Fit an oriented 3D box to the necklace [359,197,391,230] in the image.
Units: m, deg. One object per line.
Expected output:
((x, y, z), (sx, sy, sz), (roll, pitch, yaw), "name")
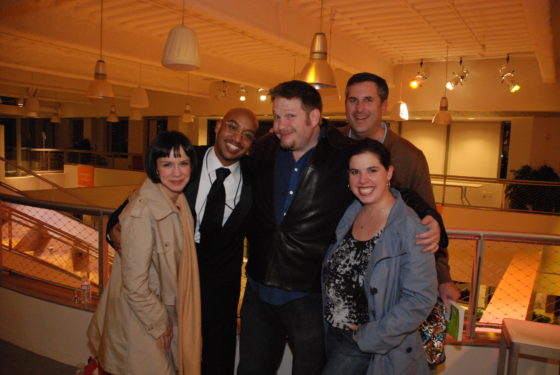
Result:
((0.777, 0.208, 3.426), (0.181, 0.257, 0.128), (11, -8, 30), "necklace")

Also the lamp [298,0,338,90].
((0.531, -1.747, 5.783), (0.434, 0.642, 0.664), (4, 3, 22), "lamp")

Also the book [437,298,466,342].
((1.459, 1.106, 3.536), (0.153, 0.285, 0.172), (1, 3, -38), "book")

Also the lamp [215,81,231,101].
((-2.023, -3.460, 14.934), (0.471, 0.687, 1.190), (3, 3, -10), "lamp")

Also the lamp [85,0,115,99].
((-3.354, -2.469, 7.967), (0.387, 1.773, 2.156), (2, 3, -23), "lamp")

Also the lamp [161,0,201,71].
((-1.208, -1.782, 5.289), (0.487, 0.587, 0.393), (4, 2, 9), "lamp")
